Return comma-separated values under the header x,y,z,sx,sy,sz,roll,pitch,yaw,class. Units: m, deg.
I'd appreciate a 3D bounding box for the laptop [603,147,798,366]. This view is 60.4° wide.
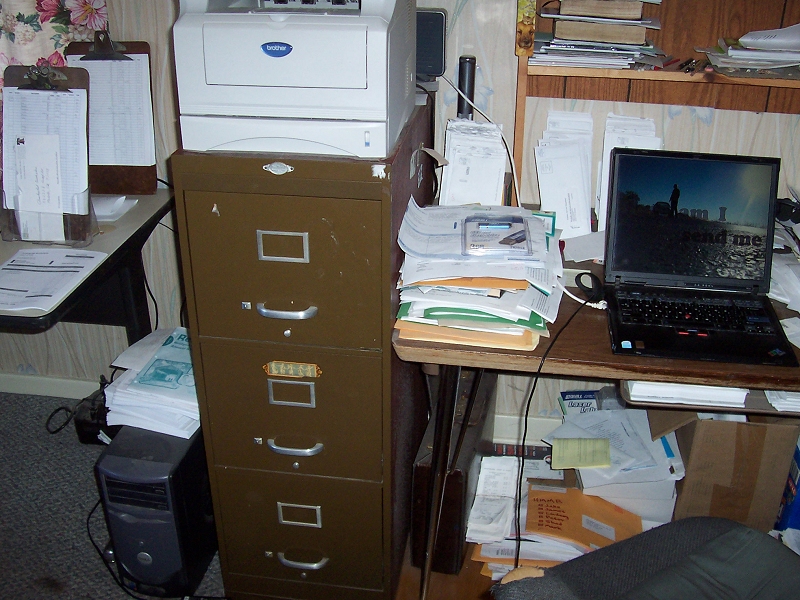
x,y,z,sx,sy,sz,roll,pitch,yaw,class
0.746,-0.050,1.834,0.496,0.384,0.550,4,45,8,laptop

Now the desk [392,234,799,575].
x,y,z,sx,sy,sz,roll,pitch,yaw,class
0.446,0.121,1.722,0.902,0.589,0.508,4,16,4,desk

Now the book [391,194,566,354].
x,y,z,sx,sy,sz,roll,pitch,yaw,class
0.176,-0.053,1.708,0.398,0.371,0.133,2,-11,1,book

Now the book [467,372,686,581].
x,y,z,sx,sy,sz,roll,pitch,yaw,class
0.575,0.585,2.185,0.467,0.192,0.632,4,42,20,book
